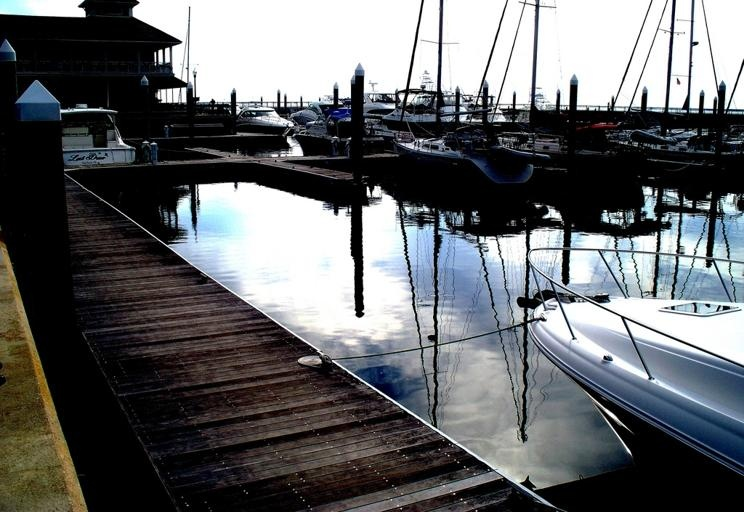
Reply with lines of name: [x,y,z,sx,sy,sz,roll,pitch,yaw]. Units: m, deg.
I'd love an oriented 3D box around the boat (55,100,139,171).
boat: [-9.290,-4.049,21.943,1.967,1.868,2.056,-3,15,-22]
